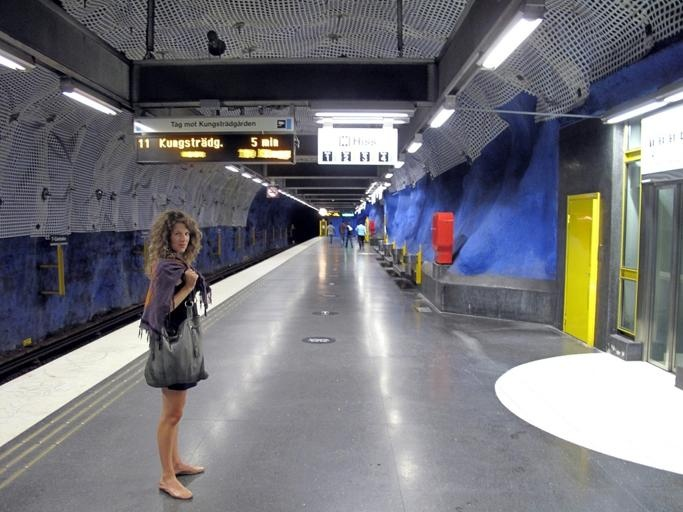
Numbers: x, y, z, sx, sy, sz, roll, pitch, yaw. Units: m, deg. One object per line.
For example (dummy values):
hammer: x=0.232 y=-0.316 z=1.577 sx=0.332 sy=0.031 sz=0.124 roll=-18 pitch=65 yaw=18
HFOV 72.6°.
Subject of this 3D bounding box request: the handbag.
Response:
handbag: x=-1.314 y=0.681 z=3.709 sx=0.300 sy=0.673 sz=0.456 roll=7 pitch=9 yaw=37
